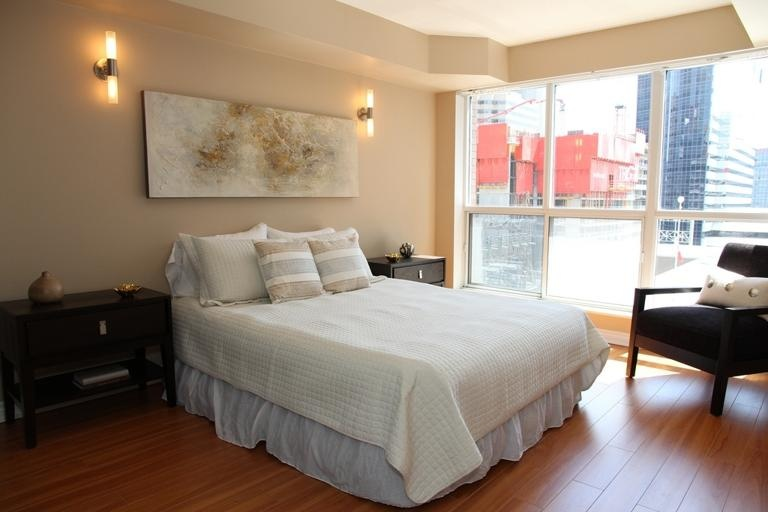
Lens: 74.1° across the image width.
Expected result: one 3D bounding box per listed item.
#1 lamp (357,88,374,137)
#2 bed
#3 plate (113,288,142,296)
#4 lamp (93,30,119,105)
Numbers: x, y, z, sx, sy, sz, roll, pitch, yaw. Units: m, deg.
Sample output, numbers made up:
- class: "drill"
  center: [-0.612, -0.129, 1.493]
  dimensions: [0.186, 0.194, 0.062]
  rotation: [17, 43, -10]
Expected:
- class: "lamp"
  center: [-0.163, -1.623, 5.828]
  dimensions: [0.169, 0.517, 0.305]
  rotation: [5, 12, 28]
- class: "bed"
  center: [-0.271, 0.650, 3.796]
  dimensions: [2.174, 0.905, 1.819]
  rotation: [3, 8, 39]
- class: "plate"
  center: [-2.060, 0.289, 4.095]
  dimensions: [0.113, 0.039, 0.115]
  rotation: [1, 0, 42]
- class: "lamp"
  center: [-2.232, -1.498, 4.138]
  dimensions: [0.224, 0.541, 0.153]
  rotation: [-6, 10, -44]
